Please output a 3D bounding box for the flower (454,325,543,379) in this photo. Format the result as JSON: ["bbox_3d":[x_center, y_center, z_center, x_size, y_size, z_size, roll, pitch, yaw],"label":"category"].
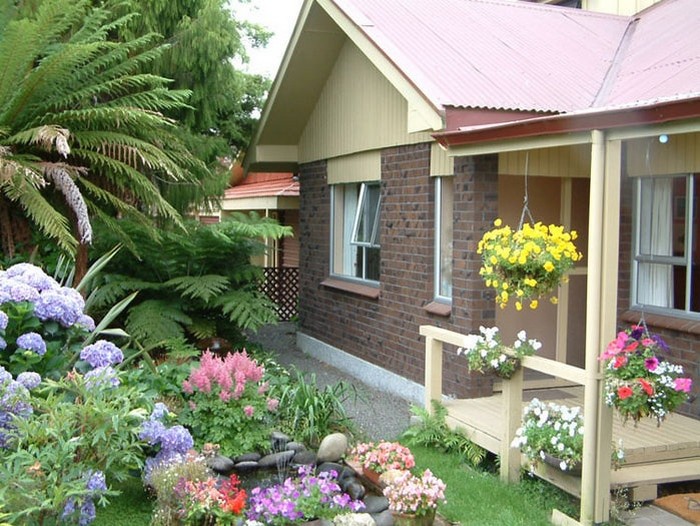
[{"bbox_3d":[1.457,0.876,5.931,0.651,0.462,0.647,-10,-16,22],"label":"flower"}]

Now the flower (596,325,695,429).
[{"bbox_3d":[2.351,0.771,4.964,0.736,0.888,0.715,0,-2,-39],"label":"flower"}]

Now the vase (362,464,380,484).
[{"bbox_3d":[0.189,1.847,5.394,0.069,0.111,0.296,2,3,-32],"label":"vase"}]

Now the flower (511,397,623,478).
[{"bbox_3d":[1.729,1.362,5.362,0.639,0.428,0.628,6,-1,-15],"label":"flower"}]

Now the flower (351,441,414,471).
[{"bbox_3d":[0.267,1.730,5.475,0.573,0.229,0.269,5,3,27],"label":"flower"}]

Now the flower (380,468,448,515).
[{"bbox_3d":[0.482,1.804,4.855,0.340,0.241,0.390,1,2,10],"label":"flower"}]
